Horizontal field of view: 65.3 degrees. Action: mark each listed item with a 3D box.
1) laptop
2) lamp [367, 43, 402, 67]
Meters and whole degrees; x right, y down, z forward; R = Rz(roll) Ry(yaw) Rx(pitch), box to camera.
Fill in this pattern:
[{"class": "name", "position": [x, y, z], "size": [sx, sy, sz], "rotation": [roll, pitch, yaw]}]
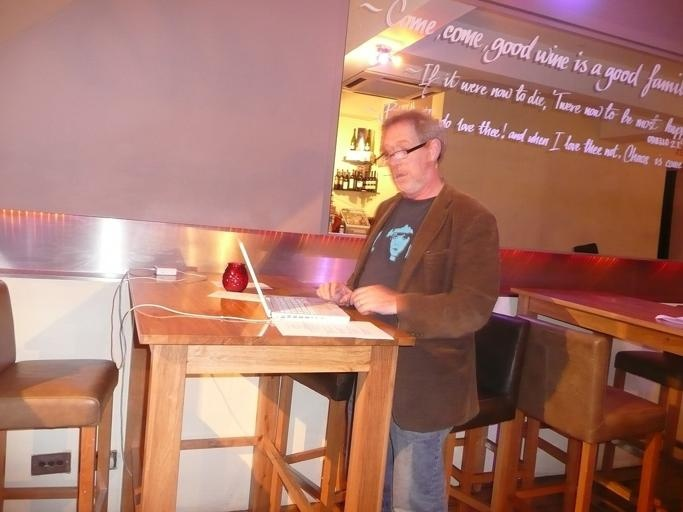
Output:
[{"class": "laptop", "position": [-0.157, 0.047, 1.986], "size": [0.317, 0.221, 0.359], "rotation": [-1, 4, -14]}, {"class": "lamp", "position": [0.255, -1.143, 3.067], "size": [0.177, 0.120, 0.026], "rotation": [-1, 4, -27]}]
